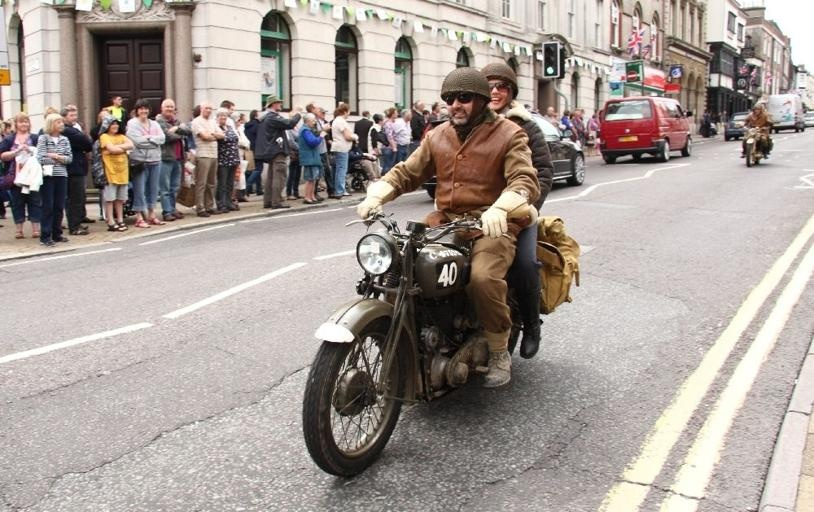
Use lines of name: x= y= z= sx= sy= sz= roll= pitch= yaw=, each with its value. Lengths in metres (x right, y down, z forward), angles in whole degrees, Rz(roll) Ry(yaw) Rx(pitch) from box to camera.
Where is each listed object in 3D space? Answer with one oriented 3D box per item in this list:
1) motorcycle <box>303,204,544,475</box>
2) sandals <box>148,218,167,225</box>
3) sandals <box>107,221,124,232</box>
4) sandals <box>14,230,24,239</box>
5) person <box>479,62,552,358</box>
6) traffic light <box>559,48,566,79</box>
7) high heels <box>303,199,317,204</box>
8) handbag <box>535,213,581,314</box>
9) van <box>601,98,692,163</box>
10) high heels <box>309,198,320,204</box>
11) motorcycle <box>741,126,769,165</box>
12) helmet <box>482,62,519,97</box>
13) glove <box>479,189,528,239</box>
motorcycle: x=0.268 y=0.410 z=6.219 sx=1.298 sy=1.852 sz=3.566 roll=6 pitch=13 yaw=29
sandals: x=-4.886 y=-0.666 z=14.372 sx=0.287 sy=0.106 sz=0.141 roll=5 pitch=14 yaw=38
sandals: x=-5.401 y=-0.544 z=13.709 sx=0.244 sy=0.080 sz=0.173 roll=10 pitch=16 yaw=37
sandals: x=-7.002 y=-0.390 z=13.279 sx=0.147 sy=0.094 sz=0.367 roll=-4 pitch=8 yaw=-29
person: x=0.638 y=-0.447 z=6.641 sx=0.846 sy=2.420 sz=1.229 roll=1 pitch=0 yaw=6
traffic light: x=5.090 y=-6.229 z=23.751 sx=0.210 sy=0.879 sz=0.521 roll=1 pitch=13 yaw=14
high heels: x=-2.250 y=-1.246 z=17.033 sx=0.333 sy=0.115 sz=0.113 roll=3 pitch=12 yaw=40
handbag: x=1.372 y=0.074 z=6.798 sx=0.412 sy=0.942 sz=0.743 roll=-1 pitch=0 yaw=0
van: x=8.909 y=-4.678 z=27.274 sx=2.543 sy=2.081 sz=4.735 roll=3 pitch=12 yaw=33
high heels: x=-2.136 y=-1.268 z=17.025 sx=0.130 sy=0.127 sz=0.361 roll=-5 pitch=3 yaw=-14
motorcycle: x=10.972 y=-3.389 z=23.056 sx=0.800 sy=0.872 sz=1.655 roll=1 pitch=5 yaw=40
helmet: x=0.864 y=-1.600 z=6.694 sx=0.309 sy=0.238 sz=0.328 roll=2 pitch=7 yaw=19
glove: x=0.754 y=-0.302 z=5.573 sx=0.270 sy=0.202 sz=0.436 roll=-5 pitch=25 yaw=18
